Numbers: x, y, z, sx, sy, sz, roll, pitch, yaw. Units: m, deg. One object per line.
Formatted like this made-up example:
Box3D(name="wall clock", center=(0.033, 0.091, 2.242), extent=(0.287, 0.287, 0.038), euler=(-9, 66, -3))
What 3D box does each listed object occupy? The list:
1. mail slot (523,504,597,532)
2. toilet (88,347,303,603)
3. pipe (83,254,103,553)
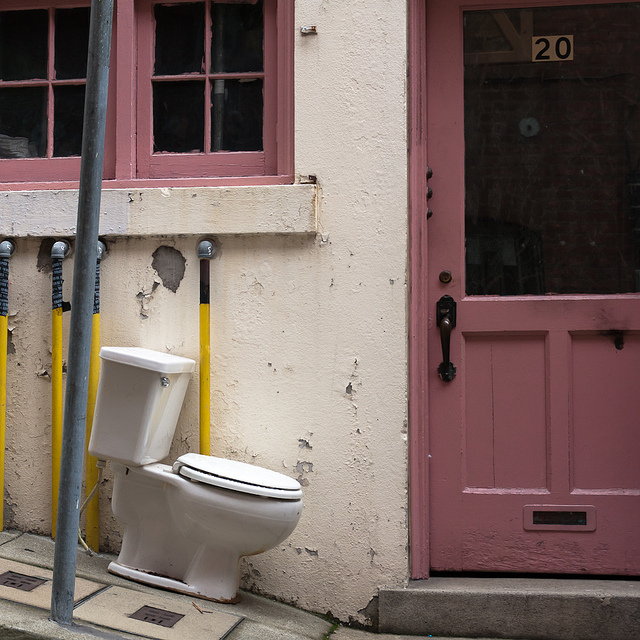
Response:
Box3D(name="mail slot", center=(0.984, 0.810, 3.757), extent=(0.296, 0.114, 0.012), euler=(3, -3, 5))
Box3D(name="toilet", center=(-0.456, 0.559, 3.599), extent=(0.866, 0.966, 0.487), euler=(0, -1, 22))
Box3D(name="pipe", center=(-0.939, 0.356, 3.749), extent=(0.149, 1.134, 0.169), euler=(-2, 7, -23))
